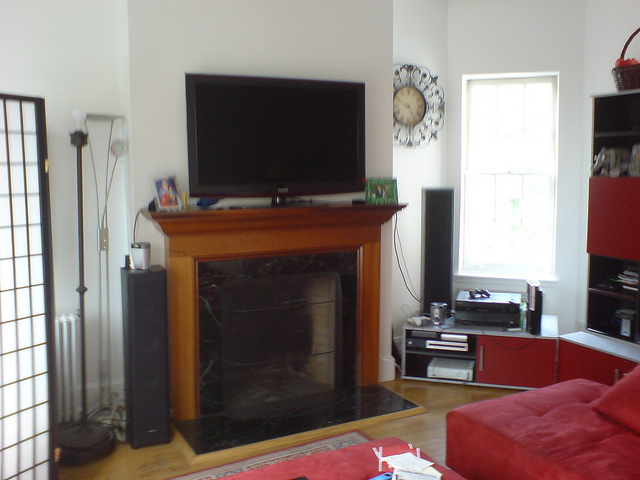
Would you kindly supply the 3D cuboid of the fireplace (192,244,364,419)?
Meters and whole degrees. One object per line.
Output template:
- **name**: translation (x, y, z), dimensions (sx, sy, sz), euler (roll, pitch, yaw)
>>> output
- **fireplace**: translation (-0.330, 0.640, 3.954), dimensions (1.275, 1.164, 0.638), euler (-2, 7, -29)

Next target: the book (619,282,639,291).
- **book**: translation (2.300, 0.345, 4.098), dimensions (0.099, 0.019, 0.067), euler (8, 3, 19)

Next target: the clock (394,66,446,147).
- **clock**: translation (0.785, -1.190, 4.893), dimensions (0.746, 0.726, 0.046), euler (-4, 7, -27)

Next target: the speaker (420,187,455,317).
- **speaker**: translation (1.036, 0.145, 4.921), dimensions (0.340, 1.332, 0.282), euler (-6, 20, -8)

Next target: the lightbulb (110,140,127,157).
- **lightbulb**: translation (-1.387, -0.639, 3.813), dimensions (0.095, 0.111, 0.038), euler (4, -3, 16)

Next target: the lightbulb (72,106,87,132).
- **lightbulb**: translation (-1.549, -0.781, 3.559), dimensions (0.091, 0.058, 0.281), euler (-5, 20, -22)

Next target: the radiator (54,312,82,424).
- **radiator**: translation (-1.713, 0.878, 3.780), dimensions (0.161, 0.742, 0.250), euler (-3, 8, -25)

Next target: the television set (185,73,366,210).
- **television set**: translation (-0.277, -0.699, 3.956), dimensions (1.321, 0.898, 0.112), euler (-3, 8, -23)
